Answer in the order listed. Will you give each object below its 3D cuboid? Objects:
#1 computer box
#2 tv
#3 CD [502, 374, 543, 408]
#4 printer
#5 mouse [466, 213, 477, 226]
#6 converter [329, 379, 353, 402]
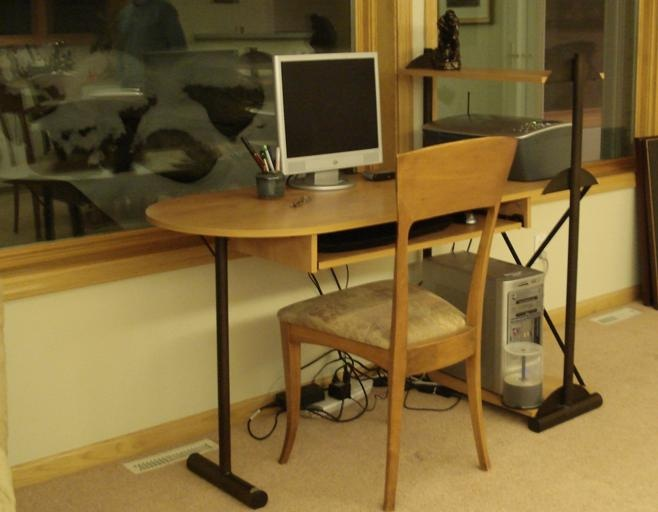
[{"bbox_3d":[0.674,0.197,2.697,0.434,0.586,0.498,-14,21,-39],"label":"computer box"},{"bbox_3d":[-0.001,-0.525,2.377,0.584,0.534,0.074,-12,16,-38],"label":"tv"},{"bbox_3d":[0.798,0.553,2.491,0.129,0.082,0.132,3,7,14],"label":"CD"},{"bbox_3d":[0.751,-0.546,2.757,0.632,0.304,0.522,-7,18,-31],"label":"printer"},{"bbox_3d":[0.537,-0.139,2.298,0.042,0.045,0.040,-4,15,-9],"label":"mouse"},{"bbox_3d":[0.058,0.585,2.682,0.076,0.059,0.074,-7,13,-38],"label":"converter"}]
